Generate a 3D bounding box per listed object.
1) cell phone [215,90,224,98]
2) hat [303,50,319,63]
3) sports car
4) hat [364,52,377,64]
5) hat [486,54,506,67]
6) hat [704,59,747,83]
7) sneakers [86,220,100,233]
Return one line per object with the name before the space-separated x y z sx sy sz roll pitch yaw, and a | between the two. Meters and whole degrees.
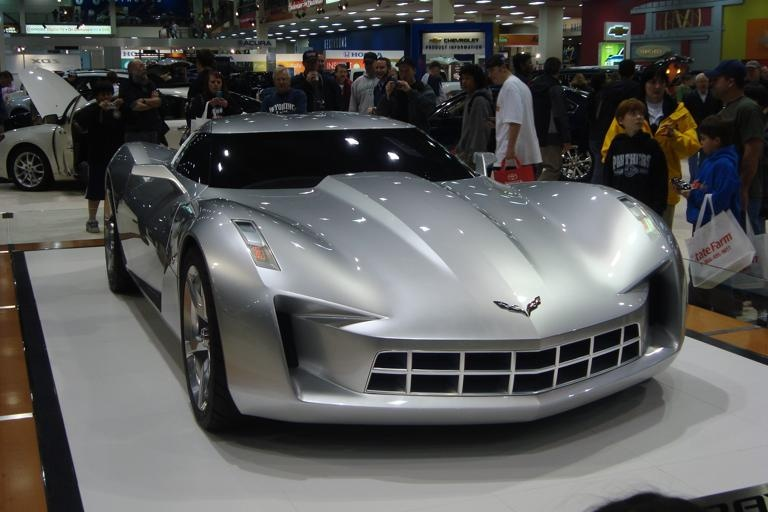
cell phone | -2.218 -2.201 6.972 0.113 0.117 0.118 2 14 -8
hat | -1.142 -3.196 8.162 0.217 0.179 0.306 14 25 38
sports car | -0.273 0.015 3.756 1.839 1.061 3.355 -3 11 -23
hat | -0.239 -3.534 9.127 0.224 0.222 0.365 -2 20 1
hat | 1.440 -2.586 6.688 0.225 0.151 0.267 -5 11 -36
hat | 3.638 -1.963 5.438 0.318 0.236 0.314 10 19 30
sneakers | -3.874 -0.398 6.835 0.133 0.159 0.348 -2 5 -25
